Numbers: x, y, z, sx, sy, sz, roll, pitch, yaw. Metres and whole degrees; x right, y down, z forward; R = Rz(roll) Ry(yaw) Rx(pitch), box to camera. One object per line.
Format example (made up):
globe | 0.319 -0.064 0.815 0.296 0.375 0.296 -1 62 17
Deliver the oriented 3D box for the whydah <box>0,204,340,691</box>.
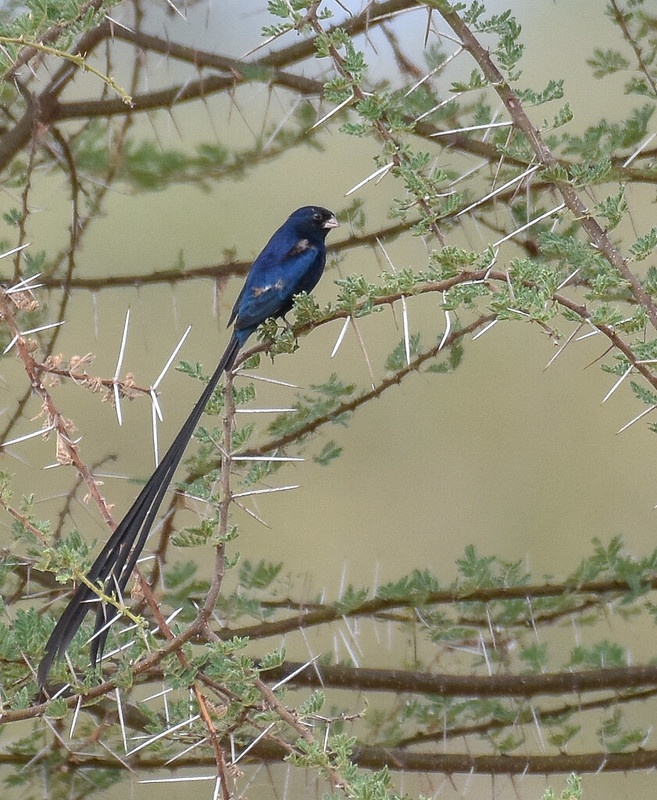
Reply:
whydah | -0.469 -0.127 4.125 1.095 2.708 0.454 -27 -63 12
